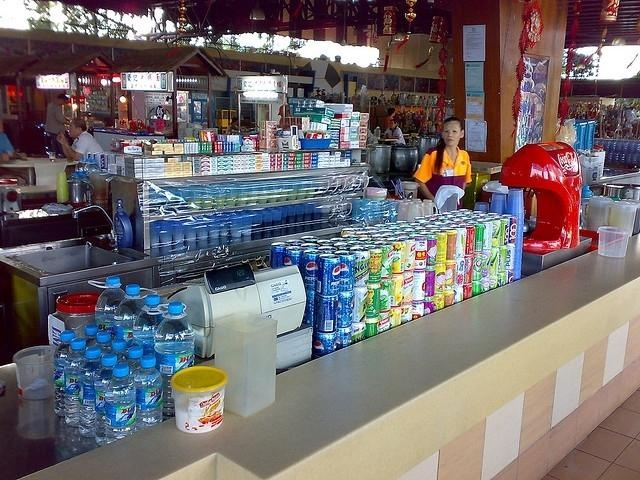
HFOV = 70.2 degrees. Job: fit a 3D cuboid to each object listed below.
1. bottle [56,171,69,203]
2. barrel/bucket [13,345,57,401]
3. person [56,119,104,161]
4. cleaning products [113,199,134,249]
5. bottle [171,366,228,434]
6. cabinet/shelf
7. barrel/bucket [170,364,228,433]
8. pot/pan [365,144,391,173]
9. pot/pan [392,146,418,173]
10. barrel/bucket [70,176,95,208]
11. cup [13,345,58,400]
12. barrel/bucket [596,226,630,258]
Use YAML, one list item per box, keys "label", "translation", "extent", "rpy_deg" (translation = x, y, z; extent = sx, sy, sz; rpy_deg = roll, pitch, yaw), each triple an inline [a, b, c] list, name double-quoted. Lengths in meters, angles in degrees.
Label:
- label: "bottle"
  translation: [-2.596, -0.522, 4.606]
  extent: [0.123, 0.295, 0.228]
  rpy_deg: [-11, 17, -29]
- label: "barrel/bucket"
  translation: [-0.961, 0.443, 1.577]
  extent: [0.148, 0.142, 0.162]
  rpy_deg: [3, 3, 0]
- label: "person"
  translation: [-4.284, -1.761, 8.084]
  extent: [0.554, 0.706, 2.470]
  rpy_deg: [-11, 17, -28]
- label: "cleaning products"
  translation: [-1.414, -0.111, 3.307]
  extent: [0.076, 0.386, 0.263]
  rpy_deg: [-12, 20, -34]
- label: "bottle"
  translation: [-0.325, 0.429, 1.285]
  extent: [0.154, 0.122, 0.150]
  rpy_deg: [1, 14, 0]
- label: "cabinet/shelf"
  translation: [-0.564, -0.271, 3.756]
  extent: [1.979, 0.477, 0.380]
  rpy_deg: [-6, -7, -7]
- label: "barrel/bucket"
  translation: [-0.327, 0.434, 1.284]
  extent: [0.153, 0.121, 0.148]
  rpy_deg: [1, 14, 0]
- label: "pot/pan"
  translation: [0.751, -1.038, 5.743]
  extent: [0.357, 0.364, 0.368]
  rpy_deg: [10, 16, 38]
- label: "pot/pan"
  translation: [1.092, -1.024, 5.972]
  extent: [0.326, 0.264, 0.364]
  rpy_deg: [-7, 18, -16]
- label: "barrel/bucket"
  translation: [-2.339, -0.466, 4.463]
  extent: [0.201, 0.267, 0.308]
  rpy_deg: [-11, 17, -29]
- label: "cup"
  translation: [-0.965, 0.457, 1.626]
  extent: [0.151, 0.146, 0.166]
  rpy_deg: [2, 3, 0]
- label: "barrel/bucket"
  translation: [1.834, 0.009, 2.852]
  extent: [0.154, 0.173, 0.224]
  rpy_deg: [8, 18, 36]
